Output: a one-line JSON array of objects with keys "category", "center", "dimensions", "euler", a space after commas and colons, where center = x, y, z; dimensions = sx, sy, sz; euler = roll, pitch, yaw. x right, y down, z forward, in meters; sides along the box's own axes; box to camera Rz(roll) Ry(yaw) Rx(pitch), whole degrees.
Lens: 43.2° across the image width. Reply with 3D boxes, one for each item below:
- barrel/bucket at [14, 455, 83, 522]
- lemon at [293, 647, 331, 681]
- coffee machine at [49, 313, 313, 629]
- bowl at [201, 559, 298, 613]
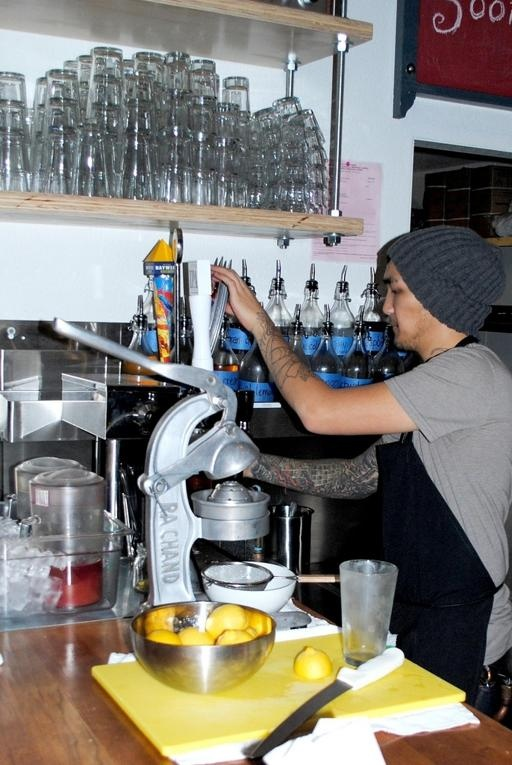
[{"category": "barrel/bucket", "center": [-0.384, 0.177, 1.162], "dimensions": [0.123, 0.135, 0.121], "euler": [1, -1, 0]}, {"category": "lemon", "center": [0.064, 0.327, 0.744], "dimensions": [0.031, 0.020, 0.030], "euler": [-6, 12, -39]}, {"category": "coffee machine", "center": [-0.115, 0.116, 0.837], "dimensions": [0.344, 0.355, 0.126], "euler": [3, -4, -36]}, {"category": "bowl", "center": [-0.006, 0.272, 0.924], "dimensions": [0.095, 0.040, 0.094], "euler": [2, 4, 0]}]
